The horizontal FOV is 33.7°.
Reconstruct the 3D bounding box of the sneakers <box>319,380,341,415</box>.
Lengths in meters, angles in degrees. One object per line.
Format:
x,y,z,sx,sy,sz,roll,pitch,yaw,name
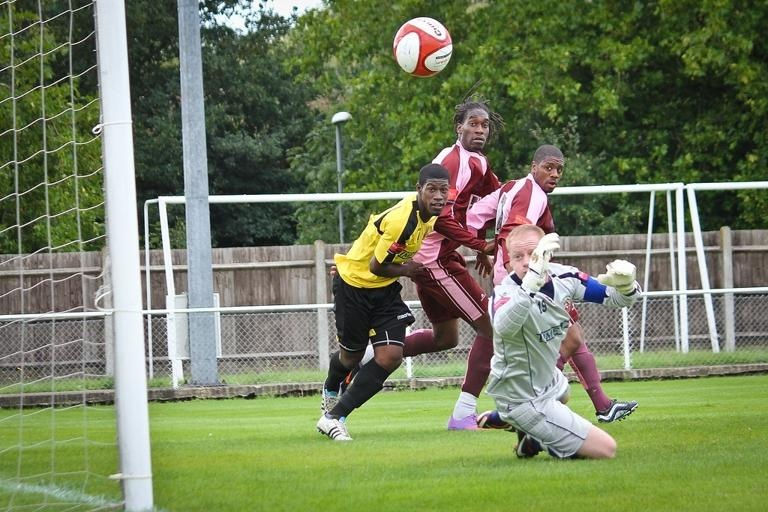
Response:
-0.683,1.927,16.968,0.196,0.530,0.237,5,2,-23,sneakers

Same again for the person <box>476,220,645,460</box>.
2.050,1.036,15.191,1.446,2.823,0.980,-2,-5,-17,person

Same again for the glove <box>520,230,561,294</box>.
1.840,0.096,14.982,0.261,0.265,0.738,25,-28,16,glove

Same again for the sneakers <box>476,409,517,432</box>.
1.520,2.150,16.390,0.596,0.245,0.213,8,3,6,sneakers

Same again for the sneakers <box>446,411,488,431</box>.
1.110,2.198,16.755,0.546,0.213,0.188,-1,1,-2,sneakers

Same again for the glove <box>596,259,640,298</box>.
2.799,0.270,15.107,0.460,0.428,0.226,-3,-4,3,glove
